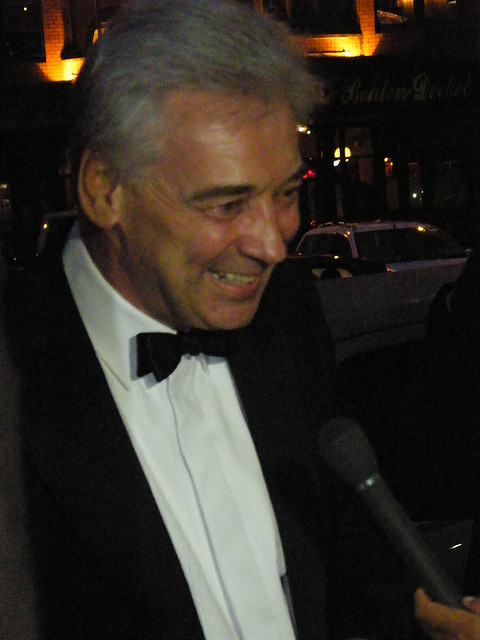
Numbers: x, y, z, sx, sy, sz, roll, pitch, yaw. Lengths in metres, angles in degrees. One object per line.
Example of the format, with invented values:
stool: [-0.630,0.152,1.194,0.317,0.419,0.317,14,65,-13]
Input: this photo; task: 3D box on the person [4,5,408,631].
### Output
person: [-0.080,0.101,1.513,0.888,1.502,0.514,-12,18,-30]

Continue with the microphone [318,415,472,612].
microphone: [0.173,0.218,1.077,0.093,0.105,0.578,13,29,-22]

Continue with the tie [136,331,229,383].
tie: [-0.139,0.069,1.482,0.127,0.051,0.139,7,42,-23]
